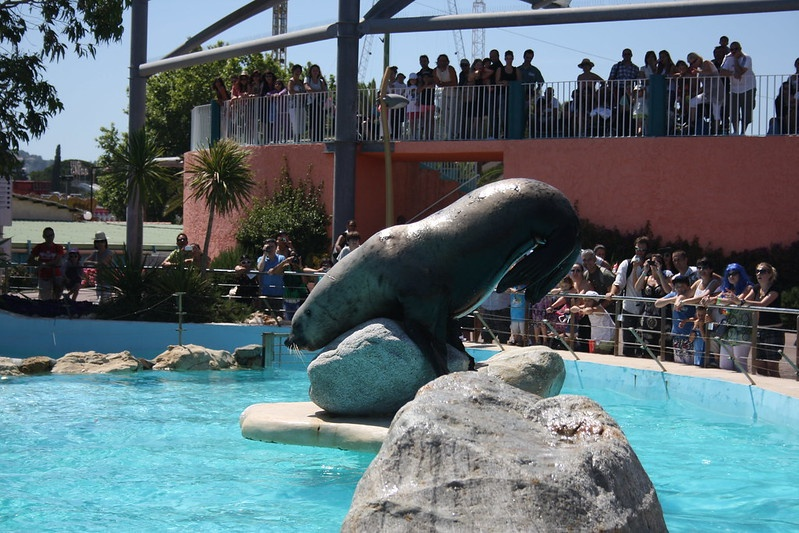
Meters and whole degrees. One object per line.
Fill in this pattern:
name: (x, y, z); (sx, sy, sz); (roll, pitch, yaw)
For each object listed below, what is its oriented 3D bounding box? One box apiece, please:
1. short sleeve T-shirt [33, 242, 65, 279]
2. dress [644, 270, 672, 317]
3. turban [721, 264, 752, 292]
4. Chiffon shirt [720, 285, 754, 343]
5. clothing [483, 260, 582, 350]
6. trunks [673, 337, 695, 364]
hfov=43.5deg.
short sleeve T-shirt: (-8.520, -0.151, 24.223); (0.730, 1.060, 0.540); (-1, -4, -16)
dress: (4.945, 0.519, 19.424); (0.436, 0.899, 0.561); (20, -25, -29)
turban: (6.463, 0.210, 19.412); (0.381, 0.418, 0.280); (-24, -2, 37)
Chiffon shirt: (6.047, 0.937, 18.167); (0.613, 0.941, 0.921); (0, -4, -5)
clothing: (2.649, 1.003, 20.307); (1.978, 1.351, 1.853); (-6, -44, 31)
trunks: (5.336, 1.577, 18.962); (0.277, 0.559, 0.385); (8, -13, -39)
